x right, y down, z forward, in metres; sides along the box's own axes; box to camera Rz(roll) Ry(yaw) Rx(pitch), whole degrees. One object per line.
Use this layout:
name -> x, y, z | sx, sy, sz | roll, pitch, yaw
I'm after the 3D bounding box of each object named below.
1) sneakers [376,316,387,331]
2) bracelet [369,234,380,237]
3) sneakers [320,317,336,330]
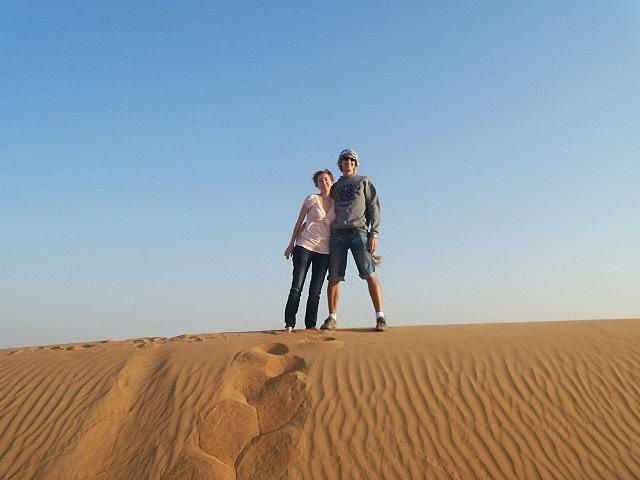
sneakers -> 0.881, 1.187, 6.613 | 0.172, 0.224, 0.424 | 2, -9, 7
bracelet -> 0.731, -0.070, 6.292 | 0.104, 0.040, 0.105 | 1, 3, 0
sneakers -> 0.146, 1.220, 6.808 | 0.266, 0.193, 0.201 | 7, -9, -21
